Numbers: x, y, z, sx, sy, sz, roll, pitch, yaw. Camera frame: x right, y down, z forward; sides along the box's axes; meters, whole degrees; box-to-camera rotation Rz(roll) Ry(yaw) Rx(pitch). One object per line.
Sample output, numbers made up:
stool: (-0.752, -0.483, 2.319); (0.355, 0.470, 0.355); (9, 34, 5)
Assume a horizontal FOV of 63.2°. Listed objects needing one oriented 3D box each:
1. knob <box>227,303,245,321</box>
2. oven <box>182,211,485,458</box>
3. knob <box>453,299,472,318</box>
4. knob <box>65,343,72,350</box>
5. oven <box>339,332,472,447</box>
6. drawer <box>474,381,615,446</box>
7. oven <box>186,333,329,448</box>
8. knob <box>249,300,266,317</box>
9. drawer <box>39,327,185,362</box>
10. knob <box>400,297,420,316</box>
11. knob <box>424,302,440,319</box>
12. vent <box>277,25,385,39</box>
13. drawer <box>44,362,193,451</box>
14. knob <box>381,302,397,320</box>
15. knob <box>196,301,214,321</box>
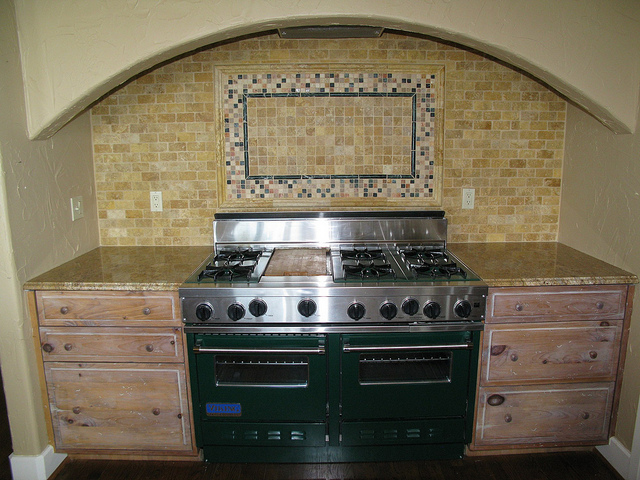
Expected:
knob: (-0.419, 0.358, 2.586); (0.075, 0.075, 0.028); (2, 10, 3)
oven: (0.024, 0.589, 2.912); (1.626, 0.965, 0.747); (3, 4, -12)
knob: (0.724, 0.341, 2.622); (0.086, 0.089, 0.036); (-5, 18, 8)
knob: (-1.304, 0.549, 2.689); (0.035, 0.032, 0.011); (-1, 14, 0)
oven: (0.424, 0.801, 2.885); (0.783, 0.577, 0.504); (2, -11, -3)
drawer: (1.201, 0.923, 2.979); (0.808, 0.374, 0.420); (1, 5, -8)
oven: (-0.289, 0.750, 2.973); (0.960, 0.681, 0.599); (0, 8, -2)
knob: (-0.309, 0.341, 2.586); (0.078, 0.086, 0.022); (-2, 14, -6)
drawer: (-1.076, 0.541, 2.641); (0.414, 0.078, 0.311); (1, 5, -4)
knob: (0.452, 0.326, 2.595); (0.115, 0.088, 0.027); (1, 5, 6)
knob: (0.564, 0.351, 2.598); (0.086, 0.072, 0.027); (1, 8, 0)
vent: (0.064, -1.154, 2.902); (0.573, 0.039, 0.234); (1, 11, 6)
drawer: (-1.013, 0.888, 2.949); (0.910, 0.526, 0.451); (-4, -6, 14)
knob: (0.345, 0.354, 2.600); (0.072, 0.085, 0.018); (1, 14, 6)
knob: (-0.578, 0.348, 2.601); (0.120, 0.107, 0.062); (0, 8, -3)
